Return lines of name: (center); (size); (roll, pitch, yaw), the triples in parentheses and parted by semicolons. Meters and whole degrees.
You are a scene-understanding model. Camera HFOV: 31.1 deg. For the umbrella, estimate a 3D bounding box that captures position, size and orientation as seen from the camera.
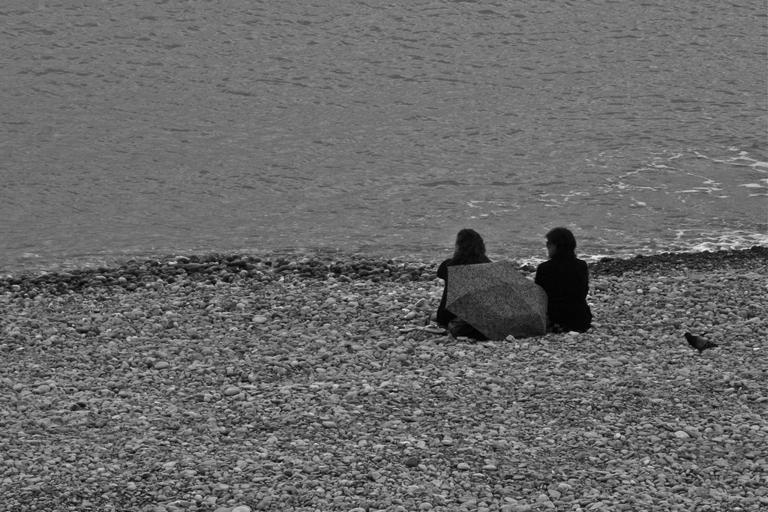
umbrella: (2.774, 0.748, 37.328); (0.868, 1.595, 2.329); (34, -10, -20)
